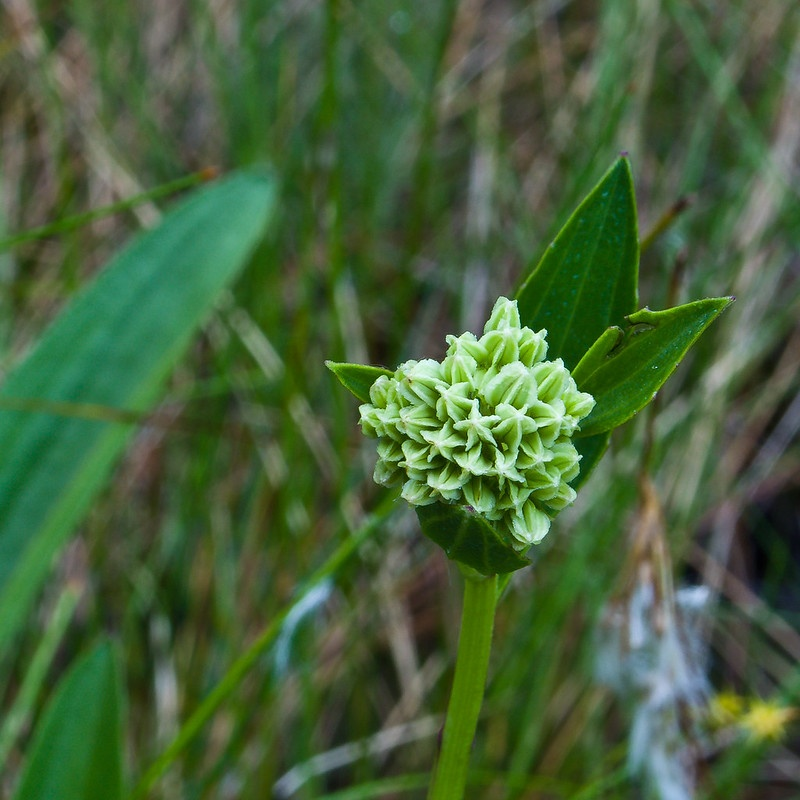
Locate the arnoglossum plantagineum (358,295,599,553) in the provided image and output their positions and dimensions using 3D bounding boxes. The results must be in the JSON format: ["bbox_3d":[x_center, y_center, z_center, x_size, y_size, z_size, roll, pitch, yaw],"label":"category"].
[{"bbox_3d":[0.104,0.021,1.426,0.256,0.299,0.372,-21,65,-9],"label":"arnoglossum plantagineum"}]
